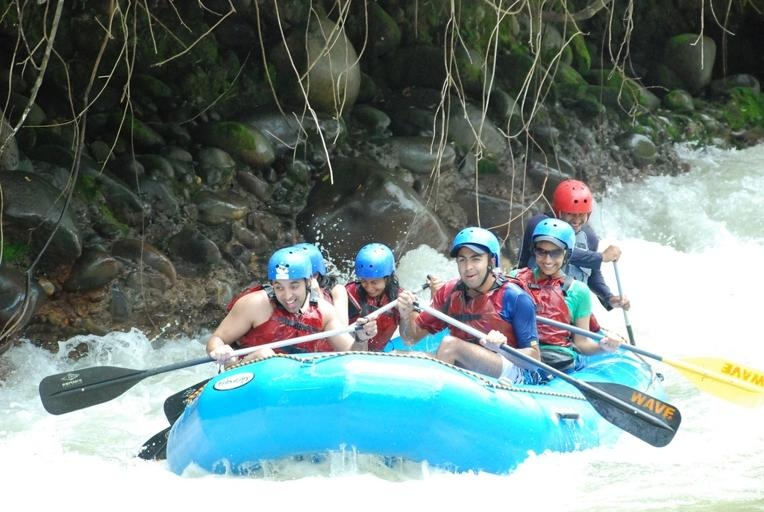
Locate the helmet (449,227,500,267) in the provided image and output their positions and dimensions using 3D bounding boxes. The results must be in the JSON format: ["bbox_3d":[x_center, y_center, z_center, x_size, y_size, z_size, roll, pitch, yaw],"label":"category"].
[{"bbox_3d":[0.760,-0.118,6.939,0.339,0.289,0.514,2,-12,3],"label":"helmet"}]

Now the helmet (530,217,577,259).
[{"bbox_3d":[1.661,-0.220,7.175,0.278,0.371,0.409,6,-38,17],"label":"helmet"}]

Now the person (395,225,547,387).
[{"bbox_3d":[0.858,0.521,7.304,0.903,1.562,0.996,-19,-33,41],"label":"person"}]

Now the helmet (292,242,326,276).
[{"bbox_3d":[-0.756,0.024,7.737,0.327,0.289,0.258,18,10,5],"label":"helmet"}]

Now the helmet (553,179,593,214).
[{"bbox_3d":[2.148,-0.653,8.213,0.305,0.421,0.407,-2,5,-12],"label":"helmet"}]

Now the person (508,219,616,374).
[{"bbox_3d":[1.828,0.450,7.471,1.339,1.746,0.882,-3,2,7],"label":"person"}]

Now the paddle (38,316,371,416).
[{"bbox_3d":[-1.747,1.057,7.011,3.957,0.652,0.212,-12,-3,3],"label":"paddle"}]

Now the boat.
[{"bbox_3d":[0.123,1.298,6.135,2.597,0.604,1.612,6,-2,-17],"label":"boat"}]
